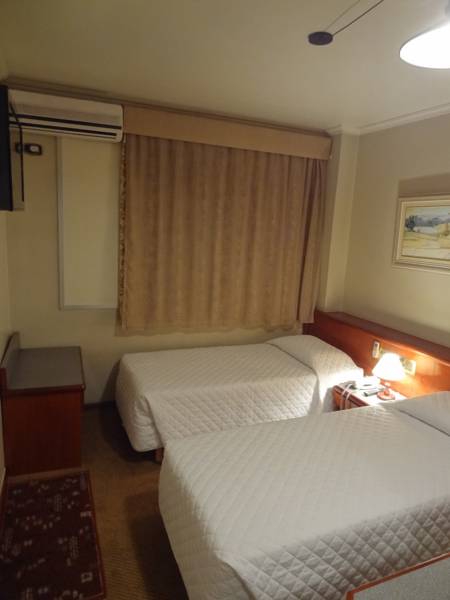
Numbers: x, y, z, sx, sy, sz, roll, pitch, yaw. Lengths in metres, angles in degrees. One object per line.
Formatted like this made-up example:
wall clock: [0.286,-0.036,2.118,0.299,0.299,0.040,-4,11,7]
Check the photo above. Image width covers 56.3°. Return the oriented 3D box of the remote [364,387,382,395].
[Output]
remote: [1.044,0.638,2.976,0.088,0.024,0.050,-8,13,-27]
